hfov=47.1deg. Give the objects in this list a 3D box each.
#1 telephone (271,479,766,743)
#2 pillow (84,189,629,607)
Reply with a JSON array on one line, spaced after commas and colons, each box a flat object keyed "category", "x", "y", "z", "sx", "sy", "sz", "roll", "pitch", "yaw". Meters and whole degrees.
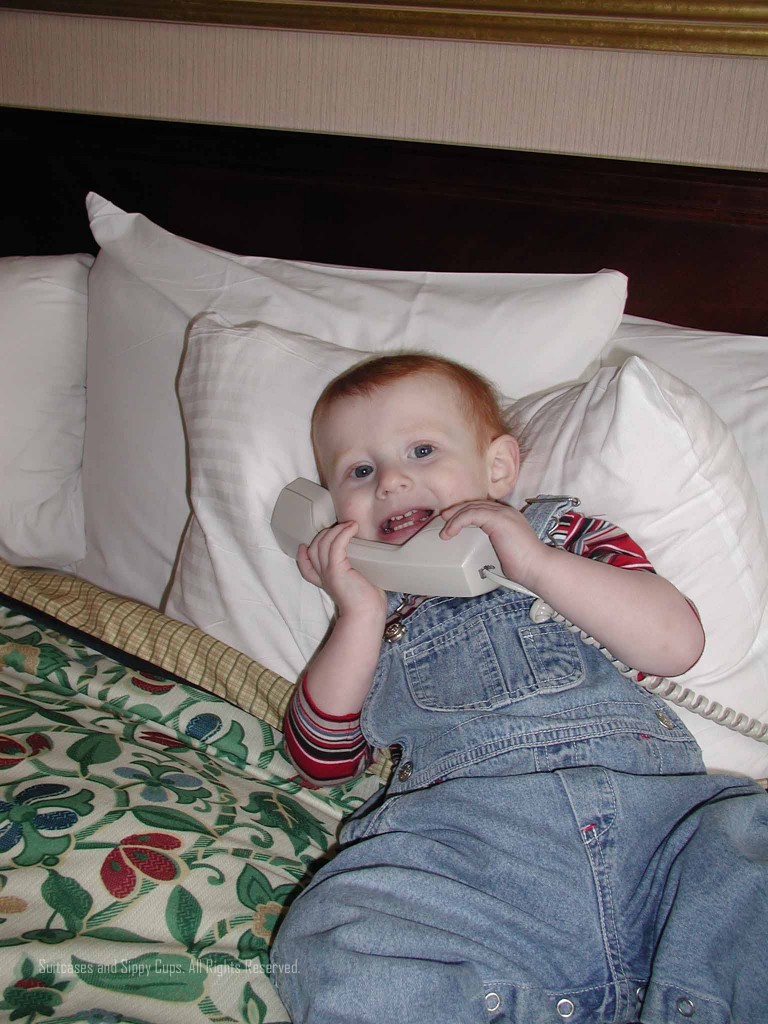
[{"category": "telephone", "x": 0.187, "y": 0.120, "z": 1.057, "sx": 0.714, "sy": 0.113, "sz": 0.120, "roll": 19, "pitch": 60, "yaw": 31}, {"category": "pillow", "x": -0.134, "y": -0.141, "z": 1.615, "sx": 0.787, "sy": 0.176, "sz": 0.642, "roll": 5, "pitch": 87, "yaw": 19}]
